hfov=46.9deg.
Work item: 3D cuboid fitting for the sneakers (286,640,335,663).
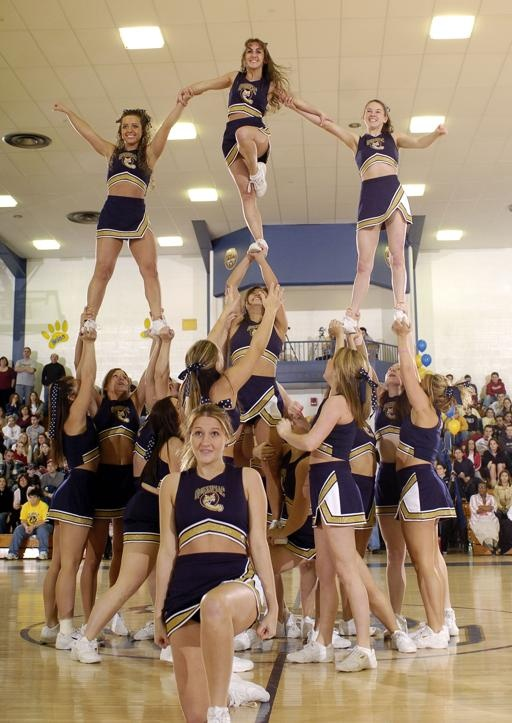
[{"bbox_3d":[0.301,1.588,3.247,0.308,0.130,0.103,1,-12,-1],"label":"sneakers"}]

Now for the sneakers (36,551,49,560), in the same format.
[{"bbox_3d":[-3.415,3.122,9.413,0.089,0.102,0.263,1,-18,-5],"label":"sneakers"}]

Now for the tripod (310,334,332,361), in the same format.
[{"bbox_3d":[1.518,-0.299,13.811,0.036,0.713,0.686,1,-4,-20],"label":"tripod"}]

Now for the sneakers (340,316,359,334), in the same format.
[{"bbox_3d":[0.647,-0.242,4.068,0.100,0.130,0.250,-3,-12,9],"label":"sneakers"}]

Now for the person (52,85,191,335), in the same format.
[{"bbox_3d":[-1.012,-1.240,4.486,0.862,2.318,1.204,3,-12,-19],"label":"person"}]

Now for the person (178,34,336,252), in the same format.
[{"bbox_3d":[-0.051,-1.505,4.219,0.622,1.490,0.605,-8,-13,29],"label":"person"}]

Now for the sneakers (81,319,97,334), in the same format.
[{"bbox_3d":[-1.069,-0.212,3.762,0.093,0.125,0.049,-1,-35,-7],"label":"sneakers"}]

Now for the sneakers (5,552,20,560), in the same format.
[{"bbox_3d":[-3.932,3.137,9.465,0.084,0.102,0.226,3,-12,-9],"label":"sneakers"}]

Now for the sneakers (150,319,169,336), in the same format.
[{"bbox_3d":[-0.657,-0.227,3.968,0.087,0.148,0.226,3,-12,-18],"label":"sneakers"}]

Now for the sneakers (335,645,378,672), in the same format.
[{"bbox_3d":[0.518,1.499,3.009,0.217,0.103,0.110,2,-9,-18],"label":"sneakers"}]

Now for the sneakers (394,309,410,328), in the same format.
[{"bbox_3d":[0.932,-0.271,3.782,0.101,0.078,0.170,1,14,3],"label":"sneakers"}]
